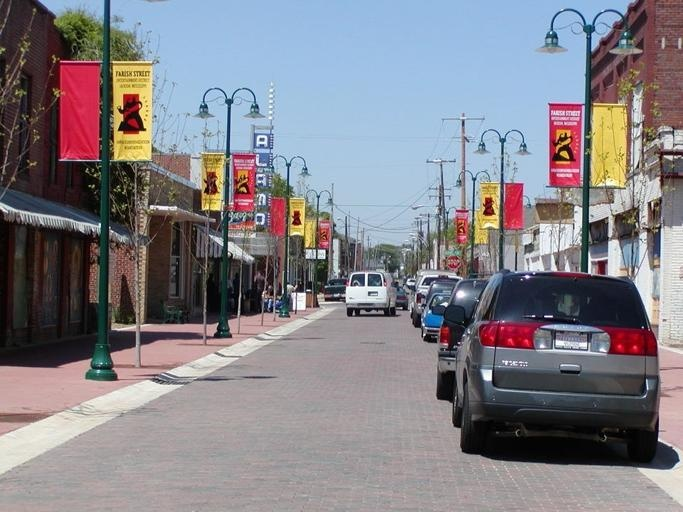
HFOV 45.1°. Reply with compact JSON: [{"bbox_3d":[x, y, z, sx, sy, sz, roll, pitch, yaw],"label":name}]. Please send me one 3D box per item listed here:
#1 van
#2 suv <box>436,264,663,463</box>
[{"bbox_3d":[2.205,1.694,14.914,0.974,1.423,2.383,0,4,2],"label":"van"},{"bbox_3d":[2.661,1.185,10.416,1.861,2.603,4.181,1,-2,8],"label":"suv"}]
